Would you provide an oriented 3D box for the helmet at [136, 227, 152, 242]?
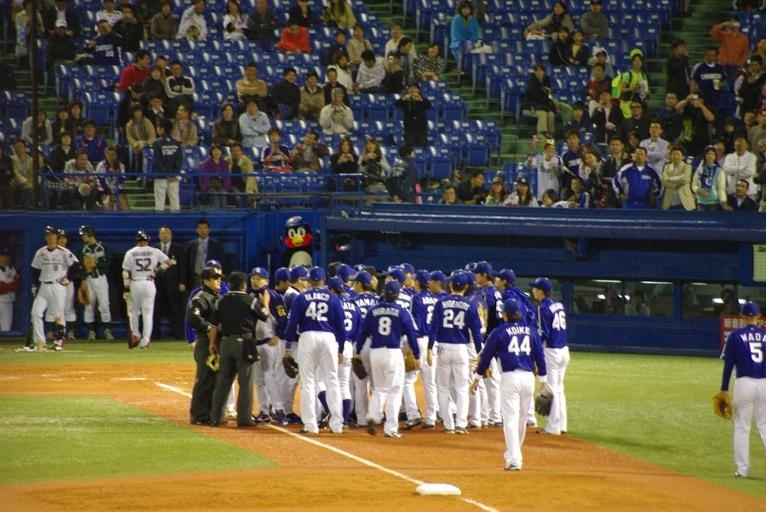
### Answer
[{"bbox_3d":[-6.430,-0.586,37.169,0.435,0.358,0.696,5,-4,-10],"label":"helmet"}]

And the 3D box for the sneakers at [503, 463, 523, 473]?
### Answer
[{"bbox_3d":[2.539,4.106,27.198,0.316,0.152,0.130,-5,4,-6],"label":"sneakers"}]

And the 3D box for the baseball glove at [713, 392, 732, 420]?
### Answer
[{"bbox_3d":[6.760,2.992,27.940,0.366,0.522,0.236,6,-9,-22],"label":"baseball glove"}]

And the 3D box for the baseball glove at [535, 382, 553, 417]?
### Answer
[{"bbox_3d":[3.171,2.821,27.558,0.293,0.641,0.480,1,-3,6],"label":"baseball glove"}]

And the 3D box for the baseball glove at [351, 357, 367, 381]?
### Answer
[{"bbox_3d":[-0.495,2.330,29.274,0.263,0.471,0.319,-2,-4,40],"label":"baseball glove"}]

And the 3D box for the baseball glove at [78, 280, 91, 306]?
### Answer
[{"bbox_3d":[-8.086,0.999,38.124,0.328,0.645,0.296,2,-3,-13],"label":"baseball glove"}]

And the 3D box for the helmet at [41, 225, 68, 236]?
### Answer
[{"bbox_3d":[-8.731,-0.716,37.532,0.557,0.215,0.404,9,-2,-18],"label":"helmet"}]

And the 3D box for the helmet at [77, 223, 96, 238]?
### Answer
[{"bbox_3d":[-8.005,-0.653,37.915,0.322,0.402,0.417,-2,19,-17],"label":"helmet"}]

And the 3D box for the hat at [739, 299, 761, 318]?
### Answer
[{"bbox_3d":[7.364,1.113,28.114,0.353,0.301,0.539,2,16,11],"label":"hat"}]

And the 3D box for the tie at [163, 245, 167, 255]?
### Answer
[{"bbox_3d":[-5.873,-0.175,37.913,0.137,0.207,0.051,-3,-8,14],"label":"tie"}]

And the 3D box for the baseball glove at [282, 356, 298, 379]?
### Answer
[{"bbox_3d":[-1.902,2.311,29.046,0.302,0.396,0.213,-43,-13,17],"label":"baseball glove"}]
